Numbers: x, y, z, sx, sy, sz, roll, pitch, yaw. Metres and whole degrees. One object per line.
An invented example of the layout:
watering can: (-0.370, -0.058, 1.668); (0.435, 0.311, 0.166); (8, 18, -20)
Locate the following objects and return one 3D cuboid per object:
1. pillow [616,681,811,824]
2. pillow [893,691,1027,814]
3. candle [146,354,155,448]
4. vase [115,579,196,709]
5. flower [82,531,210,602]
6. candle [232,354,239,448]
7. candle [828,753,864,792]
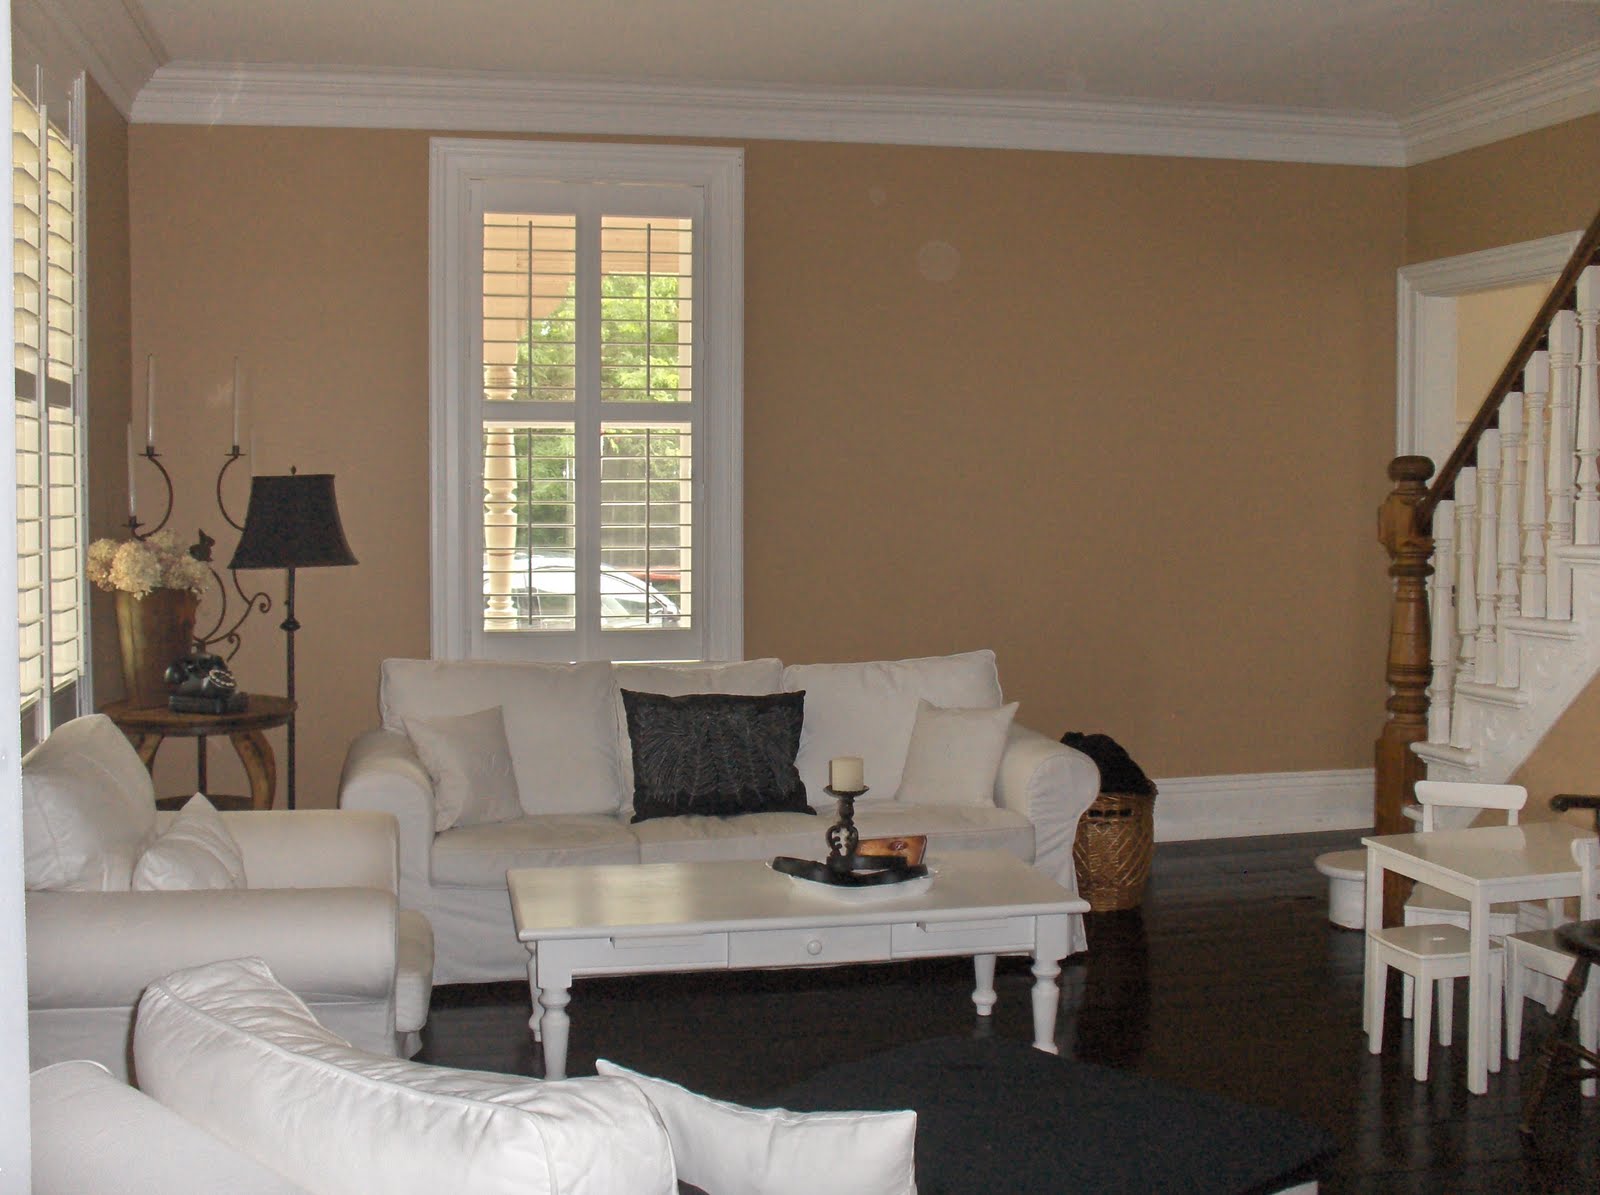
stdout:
pillow: (-0.303, 0.532, 5.169); (0.469, 0.315, 0.159); (-1, -41, -8)
pillow: (0.531, 0.530, 5.253); (0.371, 0.342, 0.113); (4, -20, 35)
candle: (-2.429, -0.725, 5.827); (0.021, 0.316, 0.048); (0, 3, 11)
vase: (-2.123, 0.131, 5.108); (0.249, 0.364, 0.245); (-2, 11, -35)
flower: (-2.127, -0.092, 5.037); (0.375, 0.190, 0.248); (-1, 3, -12)
candle: (-2.127, -0.720, 5.892); (0.034, 0.295, 0.009); (-1, 3, -17)
candle: (0.136, 0.478, 4.188); (0.072, 0.088, 0.147); (1, 3, 32)
